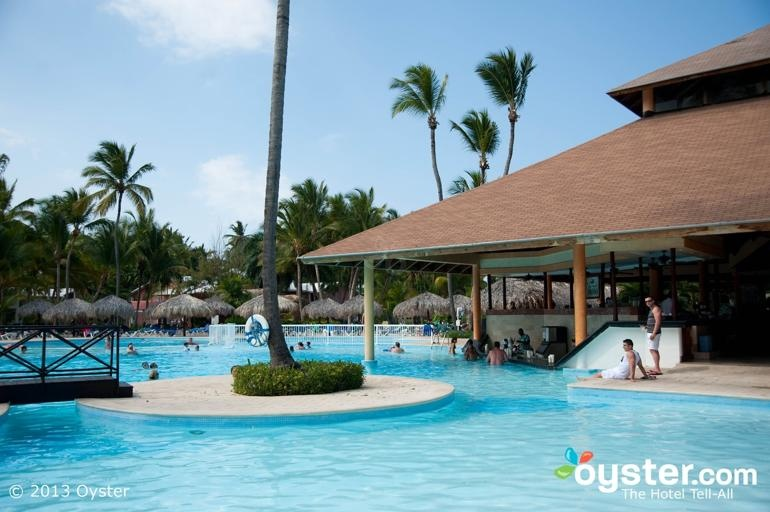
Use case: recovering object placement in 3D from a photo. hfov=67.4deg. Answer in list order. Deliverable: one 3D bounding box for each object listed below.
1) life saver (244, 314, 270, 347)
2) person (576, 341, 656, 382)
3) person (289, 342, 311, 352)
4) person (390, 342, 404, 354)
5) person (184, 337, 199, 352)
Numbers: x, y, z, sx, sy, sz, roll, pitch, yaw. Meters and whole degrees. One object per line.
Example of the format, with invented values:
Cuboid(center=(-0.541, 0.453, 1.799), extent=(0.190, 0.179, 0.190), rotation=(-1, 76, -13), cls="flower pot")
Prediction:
Cuboid(center=(-3.662, 2.140, 16.711), extent=(0.826, 0.848, 0.281), rotation=(-10, -6, 35), cls="life saver")
Cuboid(center=(6.915, 3.224, 17.528), extent=(2.252, 1.244, 1.142), rotation=(-11, -18, 31), cls="person")
Cuboid(center=(-4.837, 5.094, 32.303), extent=(1.328, 0.534, 1.055), rotation=(0, 0, 32), cls="person")
Cuboid(center=(0.742, 4.858, 30.746), extent=(0.791, 0.594, 1.231), rotation=(-1, -8, -5), cls="person")
Cuboid(center=(-11.889, 5.481, 35.714), extent=(0.914, 1.190, 0.871), rotation=(0, -22, -15), cls="person")
